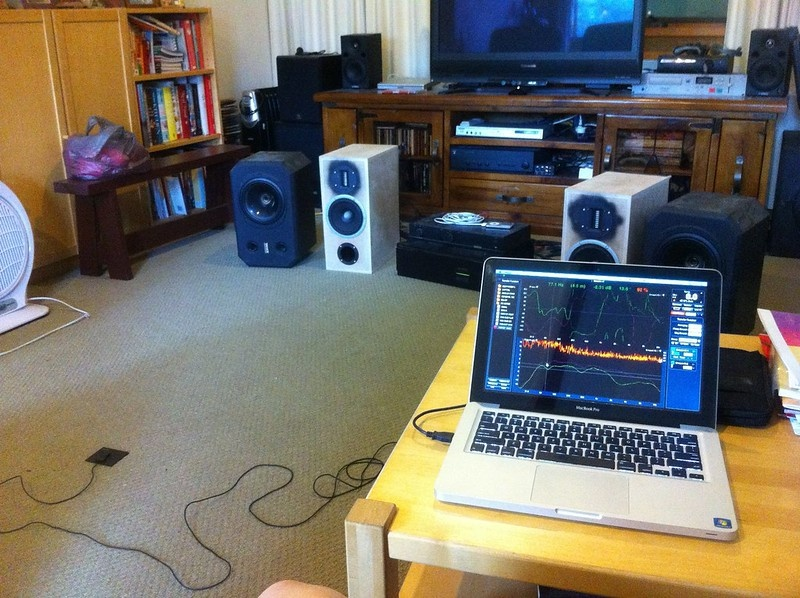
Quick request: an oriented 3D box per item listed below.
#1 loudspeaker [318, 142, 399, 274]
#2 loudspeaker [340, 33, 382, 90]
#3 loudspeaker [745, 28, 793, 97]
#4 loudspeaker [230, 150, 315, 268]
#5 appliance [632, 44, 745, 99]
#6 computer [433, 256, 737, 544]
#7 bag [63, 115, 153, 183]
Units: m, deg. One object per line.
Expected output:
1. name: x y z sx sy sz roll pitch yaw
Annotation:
1. loudspeaker: -0.227 -0.499 3.340 0.366 0.627 0.404 5 23 10
2. loudspeaker: -0.266 -1.616 4.172 0.255 0.333 0.224 6 21 14
3. loudspeaker: 1.972 -1.242 3.216 0.264 0.340 0.151 -1 23 -3
4. loudspeaker: -0.701 -0.503 3.416 0.374 0.594 0.311 5 23 10
5. appliance: 1.642 -1.310 3.489 0.577 0.274 0.557 8 24 17
6. computer: 0.292 0.120 0.958 0.451 0.262 0.420 1 20 10
7. bag: -1.550 -0.812 3.201 0.429 0.296 0.308 -3 22 9
